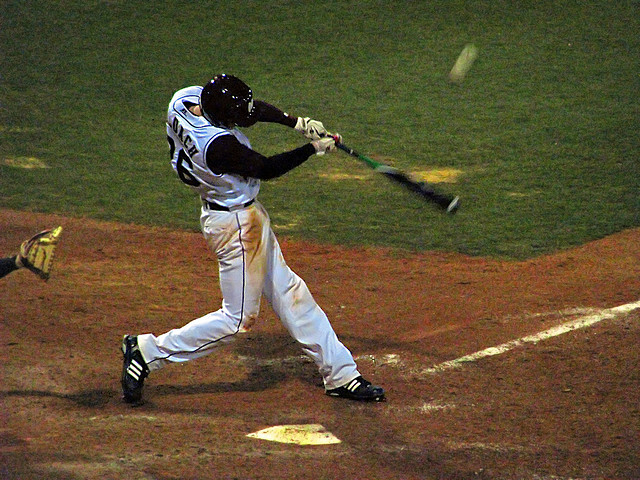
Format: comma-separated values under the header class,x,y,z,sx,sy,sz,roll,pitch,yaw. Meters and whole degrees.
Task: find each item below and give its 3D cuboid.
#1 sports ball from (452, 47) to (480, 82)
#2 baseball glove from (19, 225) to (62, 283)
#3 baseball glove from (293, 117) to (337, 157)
class,x,y,z,sx,sy,sz,roll,pitch,yaw
sports ball,1.904,-2.326,15.784,0.284,0.484,0.119,32,-11,33
baseball glove,-2.909,0.116,12.416,0.338,0.607,0.333,14,31,-14
baseball glove,-0.049,-0.979,12.092,0.465,0.402,0.436,-17,34,-40
